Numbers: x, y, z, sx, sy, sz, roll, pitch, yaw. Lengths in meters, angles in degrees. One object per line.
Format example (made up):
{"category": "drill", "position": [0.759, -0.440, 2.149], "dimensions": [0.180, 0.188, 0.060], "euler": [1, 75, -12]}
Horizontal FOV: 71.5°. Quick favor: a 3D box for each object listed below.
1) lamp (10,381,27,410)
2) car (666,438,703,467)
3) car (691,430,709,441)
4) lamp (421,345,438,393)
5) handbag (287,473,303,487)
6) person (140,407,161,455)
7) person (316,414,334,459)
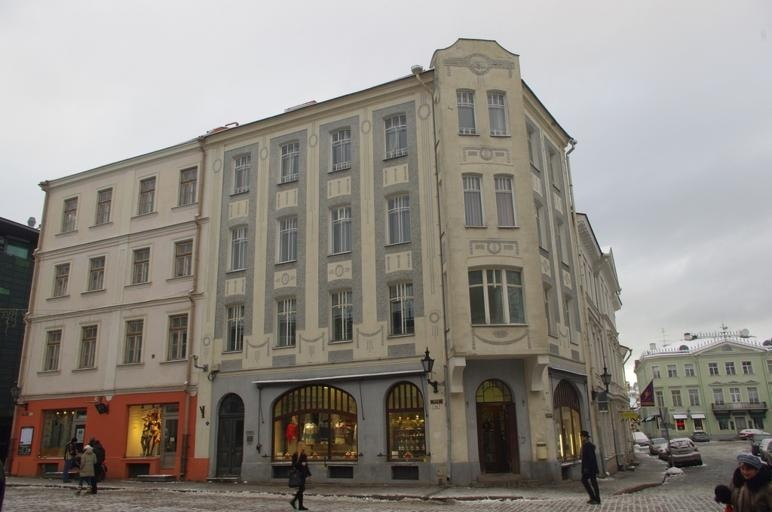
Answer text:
{"category": "lamp", "position": [-25.218, 9.484, 36.666], "dimensions": [0.921, 1.795, 0.947], "euler": [-11, -22, 19]}
{"category": "car", "position": [21.347, 14.085, 38.502], "dimensions": [2.157, 1.891, 0.887], "euler": [-1, -21, -7]}
{"category": "car", "position": [45.698, 26.319, 78.904], "dimensions": [1.912, 1.073, 3.355], "euler": [0, -12, 3]}
{"category": "lamp", "position": [2.265, 5.840, 27.719], "dimensions": [0.751, 2.317, 1.353], "euler": [-6, -21, 7]}
{"category": "handbag", "position": [-3.572, 8.852, 21.151], "dimensions": [0.562, 0.611, 0.467], "euler": [1, -11, -5]}
{"category": "person", "position": [-14.567, 10.823, 33.332], "dimensions": [1.459, 2.829, 0.386], "euler": [-17, -25, 30]}
{"category": "person", "position": [-3.232, 10.024, 29.745], "dimensions": [0.698, 2.030, 0.188], "euler": [-2, 5, 34]}
